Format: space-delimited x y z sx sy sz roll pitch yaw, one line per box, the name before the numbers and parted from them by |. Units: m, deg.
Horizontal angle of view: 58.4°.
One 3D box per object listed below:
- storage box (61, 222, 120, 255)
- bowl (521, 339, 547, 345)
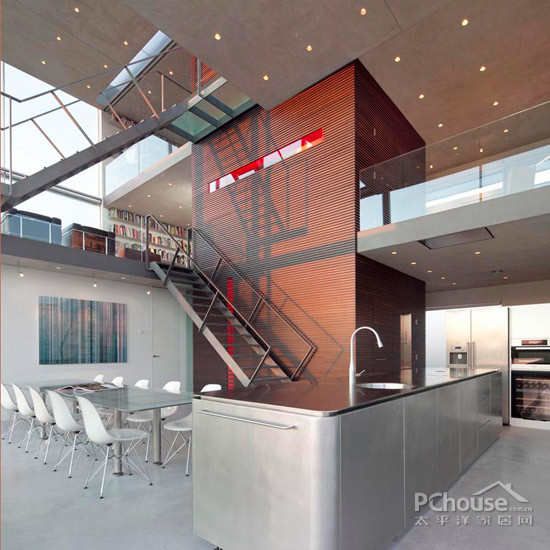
storage box | -3.424 -0.645 9.031 0.156 0.410 1.093 -5 -13 31
bowl | 4.319 1.122 8.143 0.393 0.104 0.115 -3 -13 24
